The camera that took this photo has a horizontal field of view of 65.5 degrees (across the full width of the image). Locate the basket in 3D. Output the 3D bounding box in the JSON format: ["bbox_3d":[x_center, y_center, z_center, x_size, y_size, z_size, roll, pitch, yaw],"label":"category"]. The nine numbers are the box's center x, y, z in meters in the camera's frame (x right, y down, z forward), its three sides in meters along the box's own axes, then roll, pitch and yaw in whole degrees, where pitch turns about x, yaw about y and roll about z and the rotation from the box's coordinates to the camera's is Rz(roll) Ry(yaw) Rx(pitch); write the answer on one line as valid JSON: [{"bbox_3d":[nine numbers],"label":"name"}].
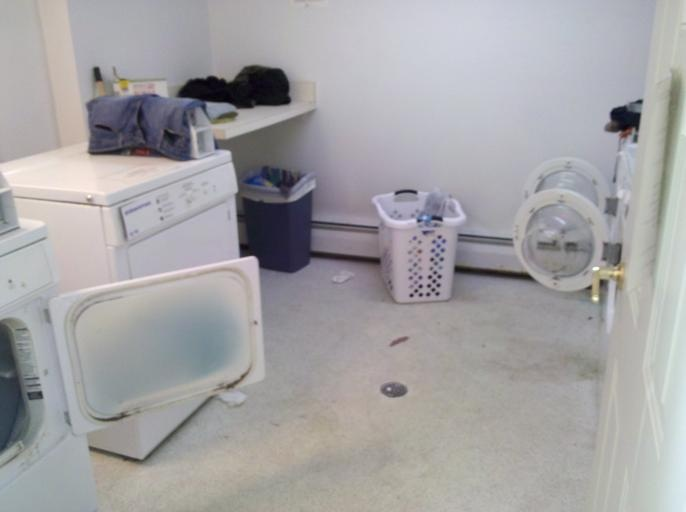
[{"bbox_3d":[0.447,-0.074,3.426,0.575,0.633,0.692,-4,25,-5],"label":"basket"}]

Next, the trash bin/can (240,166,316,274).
[{"bbox_3d":[-0.415,-0.246,3.464,0.485,0.585,0.417,12,30,21],"label":"trash bin/can"}]
